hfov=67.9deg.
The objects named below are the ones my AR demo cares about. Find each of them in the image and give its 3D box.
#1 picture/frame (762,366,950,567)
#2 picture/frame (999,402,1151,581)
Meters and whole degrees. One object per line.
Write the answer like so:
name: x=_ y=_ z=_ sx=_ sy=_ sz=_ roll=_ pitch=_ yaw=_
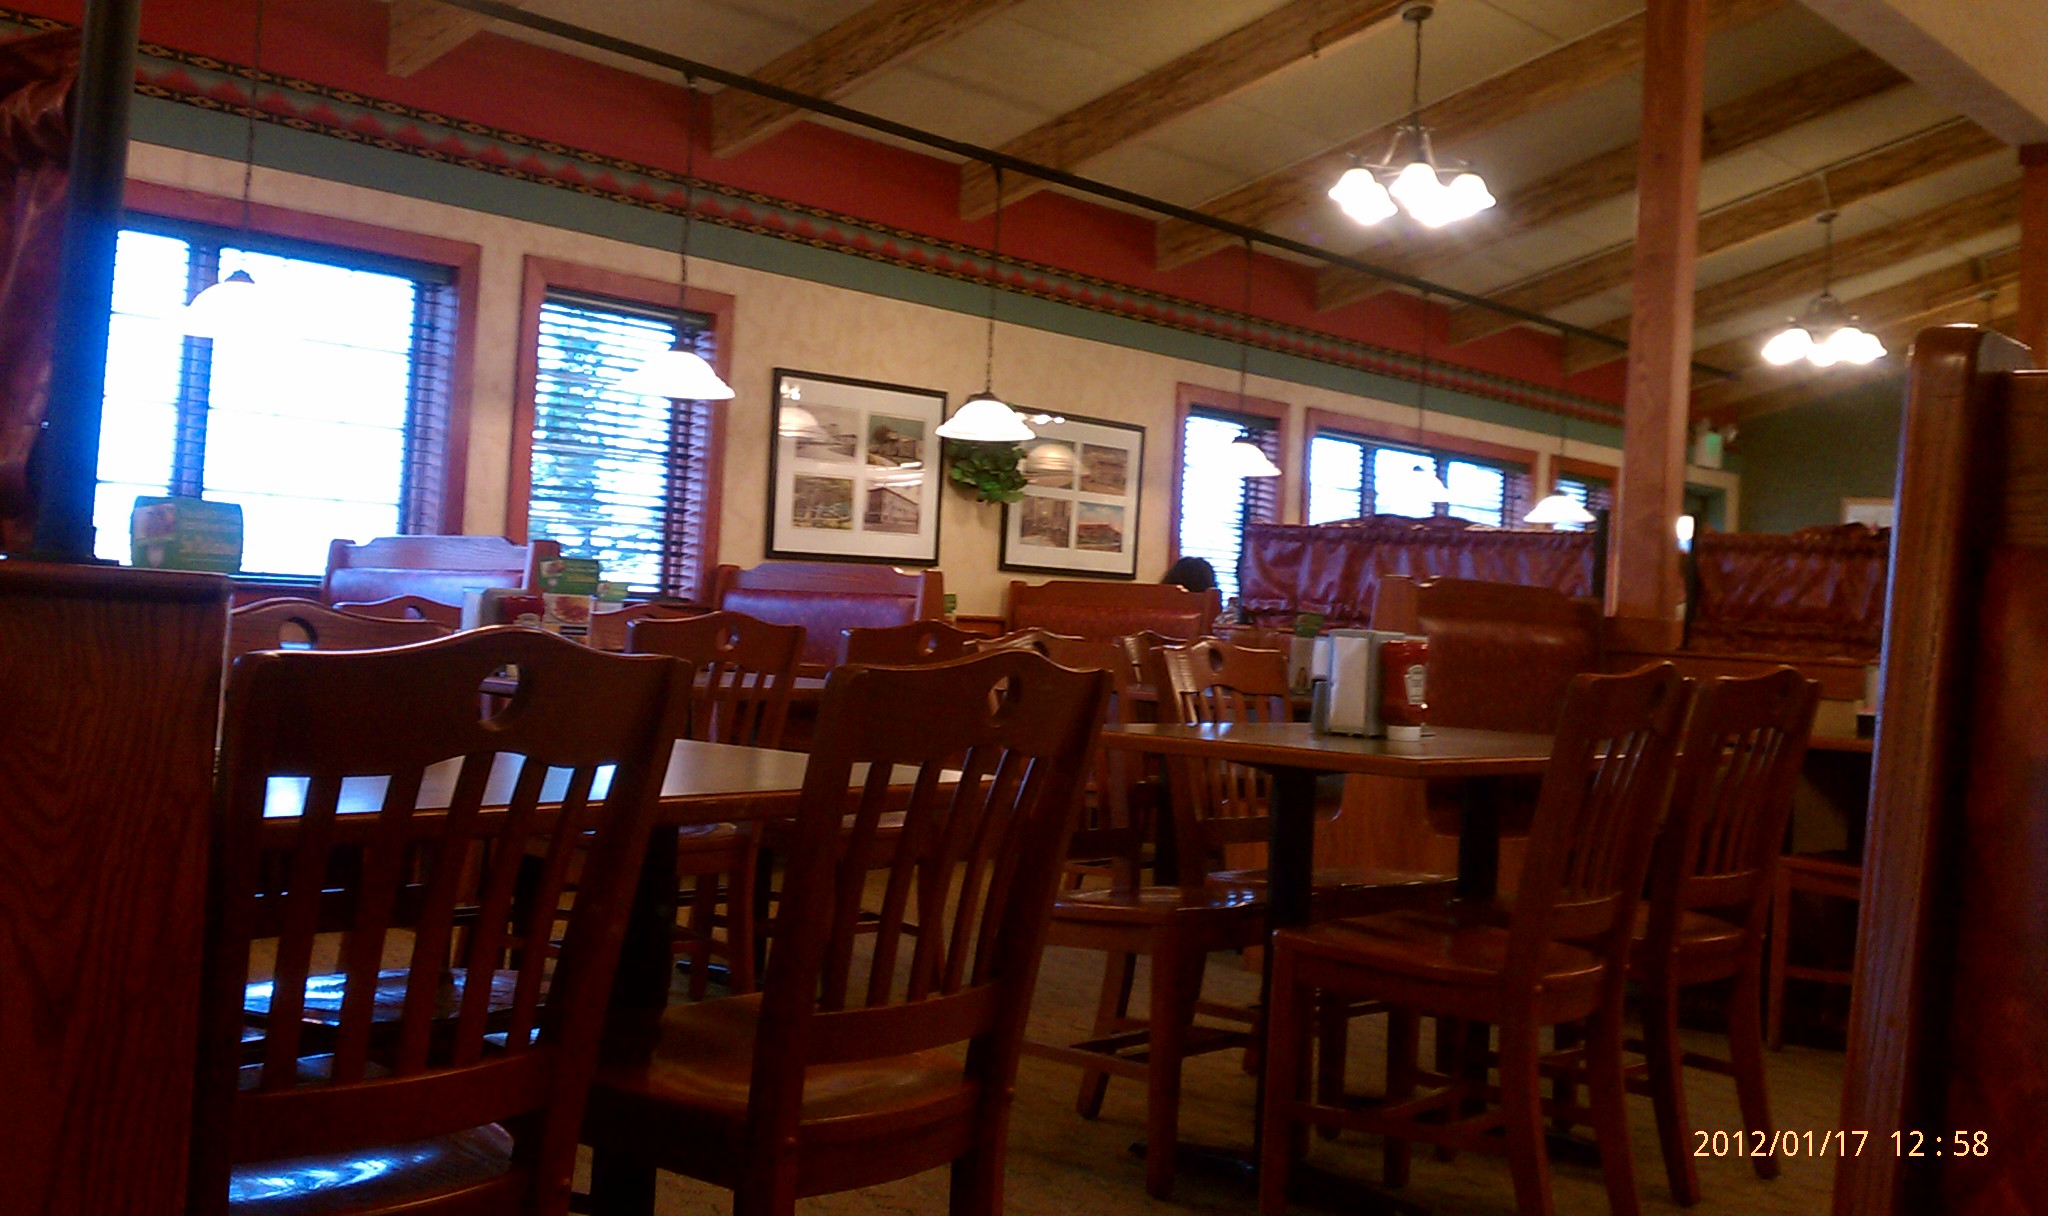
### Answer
picture/frame: x=-1.037 y=-0.851 z=8.924 sx=1.454 sy=1.137 sz=0.091 roll=3 pitch=-4 yaw=-40
picture/frame: x=0.288 y=-0.780 z=9.943 sx=1.406 sy=1.104 sz=0.048 roll=3 pitch=-1 yaw=-44
